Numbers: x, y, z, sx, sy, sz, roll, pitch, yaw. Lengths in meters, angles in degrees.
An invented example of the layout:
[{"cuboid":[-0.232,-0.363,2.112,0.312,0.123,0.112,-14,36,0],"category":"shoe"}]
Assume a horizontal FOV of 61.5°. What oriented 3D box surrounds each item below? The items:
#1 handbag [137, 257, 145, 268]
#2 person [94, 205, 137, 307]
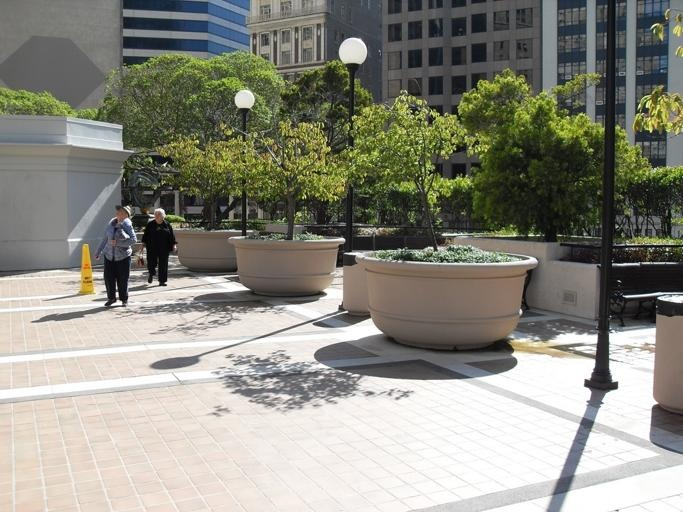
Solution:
[{"cuboid":[-7.031,0.255,20.144,0.278,0.386,0.374,-4,-1,-13],"category":"handbag"},{"cuboid":[-4.977,0.005,12.673,0.776,2.136,0.868,-2,6,-24],"category":"person"}]
